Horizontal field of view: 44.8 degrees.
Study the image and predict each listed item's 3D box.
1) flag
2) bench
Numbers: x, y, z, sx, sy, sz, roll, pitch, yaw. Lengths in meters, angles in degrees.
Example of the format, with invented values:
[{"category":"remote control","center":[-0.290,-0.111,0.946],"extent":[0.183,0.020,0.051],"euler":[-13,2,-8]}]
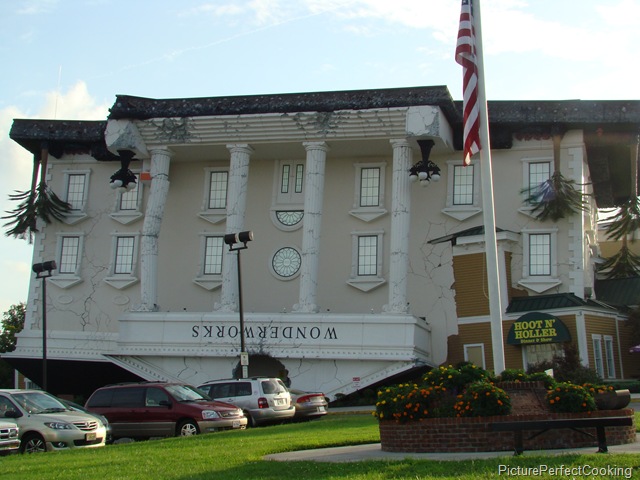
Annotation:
[{"category":"flag","center":[4.966,-5.440,26.172],"extent":[0.680,5.285,1.022],"euler":[-3,-11,12]},{"category":"bench","center":[6.046,5.004,19.964],"extent":[3.554,0.868,1.813],"euler":[-1,-11,1]}]
